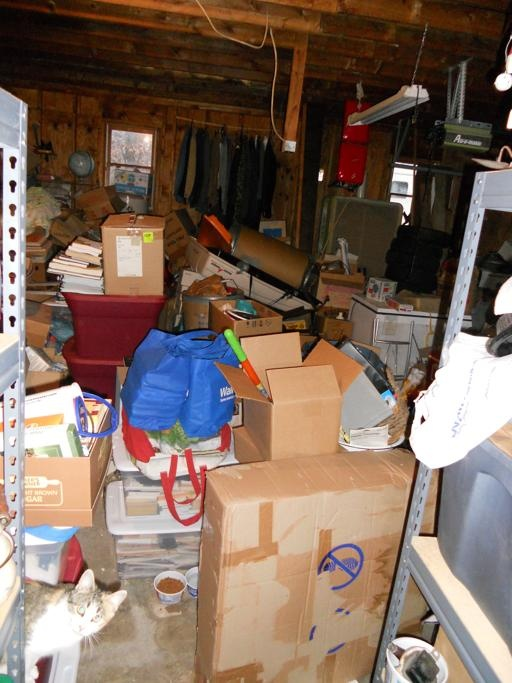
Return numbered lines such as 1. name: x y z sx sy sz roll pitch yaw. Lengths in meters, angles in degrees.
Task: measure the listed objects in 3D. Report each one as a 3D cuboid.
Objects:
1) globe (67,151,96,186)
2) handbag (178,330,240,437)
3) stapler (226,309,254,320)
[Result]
1. globe: -2.057 -2.069 6.139 0.328 0.371 0.268 0 24 -9
2. handbag: -0.157 0.146 1.786 0.178 0.334 0.212 -5 20 -29
3. stapler: -0.083 -0.130 2.528 0.087 0.020 0.082 3 14 -12
